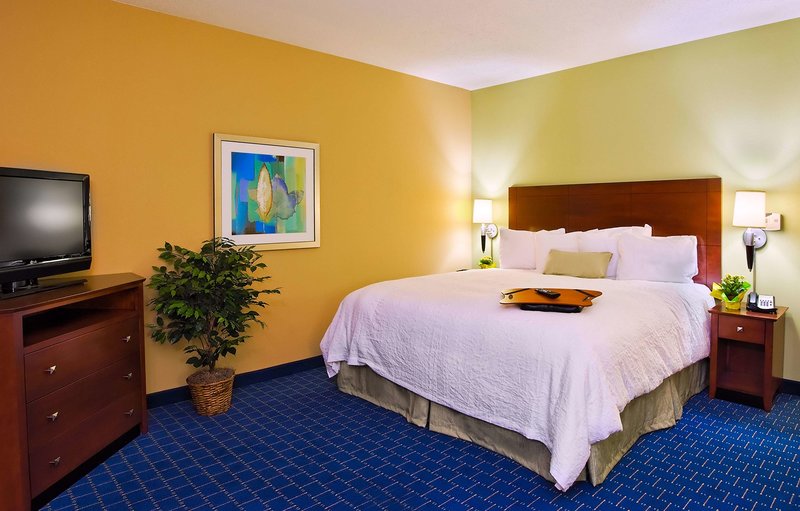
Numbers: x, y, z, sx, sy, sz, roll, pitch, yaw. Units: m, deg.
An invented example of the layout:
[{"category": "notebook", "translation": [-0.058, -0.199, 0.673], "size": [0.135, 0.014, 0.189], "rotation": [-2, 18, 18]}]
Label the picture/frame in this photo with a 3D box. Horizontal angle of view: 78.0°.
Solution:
[{"category": "picture/frame", "translation": [-1.532, -0.726, 5.522], "size": [1.393, 1.367, 0.049], "rotation": [-1, 3, -40]}]

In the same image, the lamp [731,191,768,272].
[{"category": "lamp", "translation": [3.704, -0.258, 5.268], "size": [0.321, 0.840, 0.345], "rotation": [12, 19, 41]}]

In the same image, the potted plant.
[{"category": "potted plant", "translation": [-1.946, 0.735, 5.096], "size": [0.975, 1.803, 1.138], "rotation": [-2, -8, 11]}]

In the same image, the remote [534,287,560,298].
[{"category": "remote", "translation": [1.335, 0.331, 4.468], "size": [0.193, 0.036, 0.208], "rotation": [0, 14, 0]}]

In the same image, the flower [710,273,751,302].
[{"category": "flower", "translation": [3.396, 0.324, 5.087], "size": [0.314, 0.176, 0.309], "rotation": [-14, 4, 18]}]

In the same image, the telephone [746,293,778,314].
[{"category": "telephone", "translation": [3.631, 0.473, 4.969], "size": [0.248, 0.152, 0.228], "rotation": [10, 18, 35]}]

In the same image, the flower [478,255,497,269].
[{"category": "flower", "translation": [1.241, 0.094, 7.063], "size": [0.200, 0.142, 0.207], "rotation": [0, -4, 9]}]
